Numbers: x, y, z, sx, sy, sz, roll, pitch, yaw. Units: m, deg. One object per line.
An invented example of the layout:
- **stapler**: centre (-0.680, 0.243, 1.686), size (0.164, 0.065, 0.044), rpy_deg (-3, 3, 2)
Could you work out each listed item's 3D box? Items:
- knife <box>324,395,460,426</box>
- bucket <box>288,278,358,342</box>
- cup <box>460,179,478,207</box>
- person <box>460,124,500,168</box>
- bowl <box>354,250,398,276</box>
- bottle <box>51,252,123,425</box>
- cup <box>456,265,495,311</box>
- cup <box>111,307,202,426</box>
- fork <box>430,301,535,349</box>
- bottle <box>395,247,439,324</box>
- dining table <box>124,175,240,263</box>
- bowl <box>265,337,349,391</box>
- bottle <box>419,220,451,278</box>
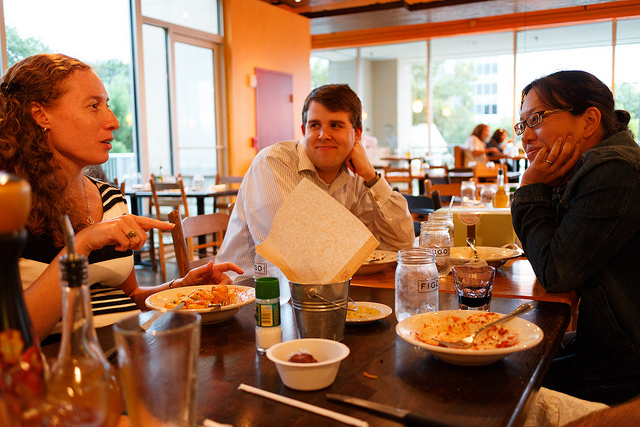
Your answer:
- **knife**: centre (0.148, 0.423, 1.073), size (0.277, 0.021, 0.072), rpy_deg (4, 10, 36)
- **bucket**: centre (0.011, 0.265, 1.400), size (0.208, 0.160, 0.203), rpy_deg (-1, -2, 0)
- **cup**: centre (1.284, -0.178, 4.299), size (0.143, 0.240, 0.140), rpy_deg (-6, 11, 1)
- **person**: centre (3.229, -1.359, 10.058), size (0.759, 0.854, 1.614), rpy_deg (1, 8, 16)
- **bowl**: centre (0.246, 0.207, 2.147), size (0.153, 0.063, 0.336), rpy_deg (0, 8, 14)
- **bottle**: centre (-0.443, 0.256, 0.927), size (0.123, 0.382, 0.132), rpy_deg (-2, 8, 0)
- **cup**: centre (0.470, 0.225, 1.594), size (0.133, 0.147, 0.130), rpy_deg (-1, 2, 0)
- **cup**: centre (-0.323, 0.321, 1.032), size (0.155, 0.259, 0.264), rpy_deg (-4, 9, -16)
- **fork**: centre (0.440, 0.308, 1.366), size (0.257, 0.039, 0.043), rpy_deg (-18, 7, -25)
- **bottle**: centre (0.290, 0.217, 1.508), size (0.127, 0.217, 0.129), rpy_deg (-3, 1, 0)
- **dining table**: centre (-1.801, 0.243, 6.159), size (1.372, 0.935, 1.393), rpy_deg (0, 0, -22)
- **bowl**: centre (-0.032, 0.385, 1.219), size (0.197, 0.074, 0.201), rpy_deg (-5, -10, -1)
- **bottle**: centre (0.446, 0.135, 1.965), size (0.126, 0.213, 0.122), rpy_deg (-3, 3, 0)
